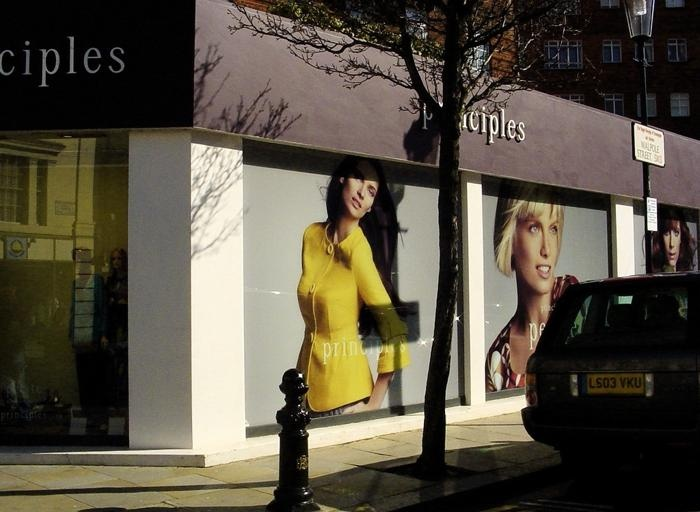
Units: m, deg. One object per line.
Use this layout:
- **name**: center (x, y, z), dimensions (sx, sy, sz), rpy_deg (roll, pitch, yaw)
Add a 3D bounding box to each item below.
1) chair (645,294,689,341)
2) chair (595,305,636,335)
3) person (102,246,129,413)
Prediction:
- **chair**: center (3.363, 0.650, 8.522), dimensions (0.299, 0.449, 0.427), rpy_deg (-1, -4, 7)
- **chair**: center (2.938, 0.707, 8.903), dimensions (0.262, 0.481, 0.470), rpy_deg (14, -12, -37)
- **person**: center (-3.174, 0.966, 10.851), dimensions (0.414, 2.128, 0.166), rpy_deg (-4, -5, 24)
